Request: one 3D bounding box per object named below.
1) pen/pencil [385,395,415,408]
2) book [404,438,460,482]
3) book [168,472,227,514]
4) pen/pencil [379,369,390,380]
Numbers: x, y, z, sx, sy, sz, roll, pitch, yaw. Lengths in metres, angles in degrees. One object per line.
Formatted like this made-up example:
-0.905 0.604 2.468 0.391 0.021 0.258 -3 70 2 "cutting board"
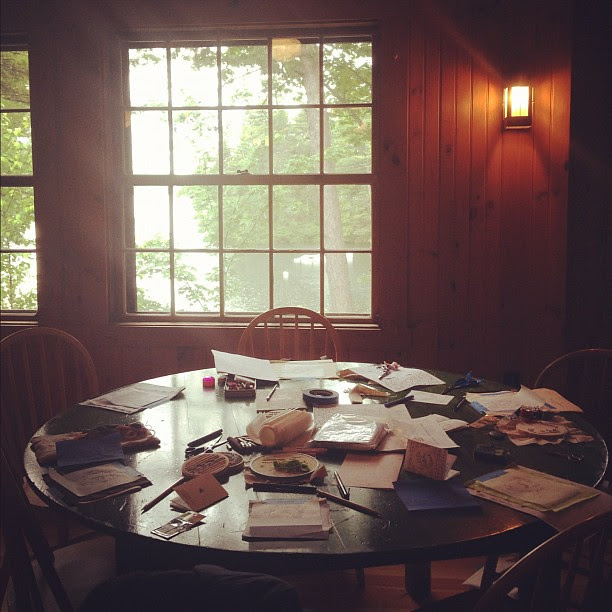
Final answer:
0.283 0.292 1.927 0.029 0.019 0.129 17 12 34 "pen/pencil"
0.287 0.346 1.473 0.086 0.056 0.087 12 24 13 "book"
-0.223 0.402 1.382 0.077 0.021 0.077 -15 38 -41 "book"
0.273 0.243 2.216 0.015 0.008 0.074 11 13 19 "pen/pencil"
